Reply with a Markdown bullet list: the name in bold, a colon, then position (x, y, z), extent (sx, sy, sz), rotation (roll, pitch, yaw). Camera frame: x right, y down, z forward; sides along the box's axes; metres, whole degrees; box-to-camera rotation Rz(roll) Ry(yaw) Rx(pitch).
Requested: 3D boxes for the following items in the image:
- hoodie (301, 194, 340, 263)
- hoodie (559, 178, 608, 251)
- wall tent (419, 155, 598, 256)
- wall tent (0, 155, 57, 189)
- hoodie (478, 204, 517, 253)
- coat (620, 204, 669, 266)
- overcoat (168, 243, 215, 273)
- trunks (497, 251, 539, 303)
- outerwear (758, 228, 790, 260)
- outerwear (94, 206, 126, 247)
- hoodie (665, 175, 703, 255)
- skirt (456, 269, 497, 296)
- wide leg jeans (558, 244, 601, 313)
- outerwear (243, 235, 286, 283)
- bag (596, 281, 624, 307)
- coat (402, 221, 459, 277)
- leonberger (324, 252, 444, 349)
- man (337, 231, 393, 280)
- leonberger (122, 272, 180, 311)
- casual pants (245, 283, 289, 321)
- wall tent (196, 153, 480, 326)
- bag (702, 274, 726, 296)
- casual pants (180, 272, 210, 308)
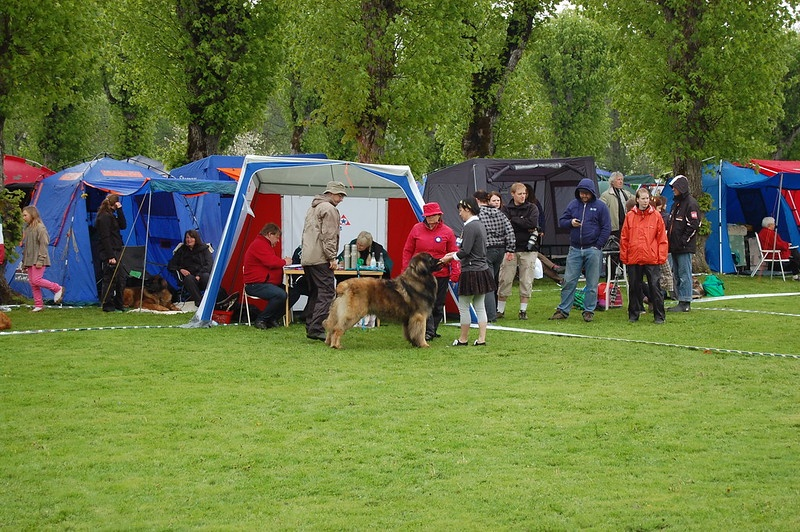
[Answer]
- **hoodie**: position (-1.350, -0.633, 13.885), extent (0.637, 1.191, 0.330), rotation (0, -4, 0)
- **hoodie**: position (3.437, -0.973, 15.271), extent (0.849, 1.282, 0.356), rotation (-2, -4, 33)
- **wall tent**: position (3.022, -1.878, 21.324), extent (3.326, 2.093, 3.256), rotation (1, -3, -23)
- **wall tent**: position (-10.161, -2.529, 22.210), extent (1.806, 0.873, 1.769), rotation (-3, 4, -37)
- **hoodie**: position (1.709, -0.654, 14.606), extent (0.937, 0.813, 0.367), rotation (-1, 6, -11)
- **coat**: position (4.565, -0.613, 15.321), extent (0.482, 1.111, 0.954), rotation (-5, 8, -44)
- **overcoat**: position (-4.328, -0.172, 17.202), extent (0.593, 0.335, 0.775), rotation (-3, 17, -16)
- **trunks**: position (2.228, 0.007, 15.978), extent (0.691, 1.438, 0.447), rotation (0, 29, 0)
- **outerwear**: position (10.113, -0.598, 22.379), extent (0.451, 0.723, 0.640), rotation (-36, 13, -32)
- **outerwear**: position (-5.984, -0.828, 16.867), extent (0.591, 0.904, 0.752), rotation (1, 11, 3)
- **hoodie**: position (5.523, -1.025, 16.086), extent (0.558, 1.514, 0.531), rotation (-1, -4, 17)
- **skirt**: position (1.245, 0.241, 13.235), extent (0.592, 0.400, 0.392), rotation (-3, 0, -13)
- **wide leg jeans**: position (3.345, 0.146, 15.455), extent (0.716, 1.635, 0.432), rotation (3, 12, 10)
- **outerwear**: position (-2.454, -0.125, 15.290), extent (0.811, 0.927, 0.979), rotation (4, 0, 6)
- **bag**: position (4.472, 0.583, 17.509), extent (0.354, 0.564, 1.057), rotation (5, 8, 39)
- **coat**: position (0.551, -0.328, 14.185), extent (1.054, 0.988, 0.542), rotation (4, 14, 7)
- **leonberger**: position (-0.264, 0.577, 13.799), extent (1.471, 1.173, 0.625), rotation (1, -12, -8)
- **man**: position (-0.689, -0.135, 15.242), extent (1.009, 0.895, 0.568), rotation (3, -13, -4)
- **leonberger**: position (-5.239, 0.558, 17.389), extent (1.067, 0.533, 0.615), rotation (-1, -2, 22)
- **casual pants**: position (-2.417, 0.637, 14.965), extent (0.739, 0.712, 0.644), rotation (-1, 4, -4)
- **wall tent**: position (-1.947, -0.921, 16.628), extent (3.886, 2.474, 3.600), rotation (0, 1, -22)
- **bag**: position (7.188, 0.441, 18.891), extent (0.406, 0.502, 0.529), rotation (-2, -7, 32)
- **casual pants**: position (-4.204, 0.485, 16.987), extent (0.438, 0.732, 0.217), rotation (0, -6, -11)
